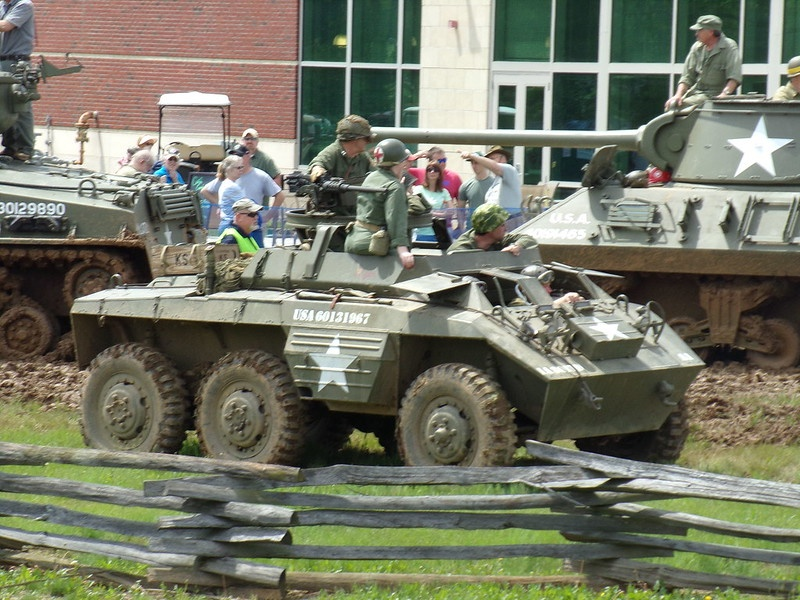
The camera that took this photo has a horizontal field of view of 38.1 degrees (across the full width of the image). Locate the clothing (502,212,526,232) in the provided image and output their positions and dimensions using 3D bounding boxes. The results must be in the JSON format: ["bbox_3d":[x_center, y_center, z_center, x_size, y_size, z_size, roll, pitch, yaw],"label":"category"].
[{"bbox_3d":[1.559,-1.066,15.663,0.358,0.307,0.089,-4,41,-34],"label":"clothing"}]

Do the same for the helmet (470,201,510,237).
[{"bbox_3d":[0.866,-0.803,11.555,0.358,0.276,0.266,-31,37,13],"label":"helmet"}]

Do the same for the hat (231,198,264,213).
[{"bbox_3d":[-1.649,-1.022,12.550,0.265,0.090,0.172,2,3,8],"label":"hat"}]

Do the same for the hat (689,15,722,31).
[{"bbox_3d":[4.151,-3.753,15.685,0.343,0.206,0.386,-2,14,6],"label":"hat"}]

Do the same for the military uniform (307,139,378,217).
[{"bbox_3d":[-0.552,-1.207,11.719,1.083,0.878,0.313,-1,4,-41],"label":"military uniform"}]

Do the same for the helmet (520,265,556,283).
[{"bbox_3d":[1.301,-0.251,11.045,0.258,0.093,0.172,12,-9,13],"label":"helmet"}]

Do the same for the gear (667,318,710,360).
[{"bbox_3d":[3.370,0.465,13.507,0.637,0.648,0.157,0,6,12],"label":"gear"}]

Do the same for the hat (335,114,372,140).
[{"bbox_3d":[-0.468,-1.753,11.745,0.252,0.190,0.322,0,4,-25],"label":"hat"}]

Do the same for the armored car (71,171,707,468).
[{"bbox_3d":[-0.231,0.562,12.257,6.341,2.162,3.532,1,4,35],"label":"armored car"}]

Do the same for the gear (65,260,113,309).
[{"bbox_3d":[-4.248,-0.184,15.930,0.796,0.679,0.229,7,2,18],"label":"gear"}]

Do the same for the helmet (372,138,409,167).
[{"bbox_3d":[-0.065,-1.435,11.135,0.267,0.152,0.319,6,25,25],"label":"helmet"}]

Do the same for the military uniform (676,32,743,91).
[{"bbox_3d":[4.231,-3.228,15.833,0.676,0.822,0.764,-11,15,-42],"label":"military uniform"}]
